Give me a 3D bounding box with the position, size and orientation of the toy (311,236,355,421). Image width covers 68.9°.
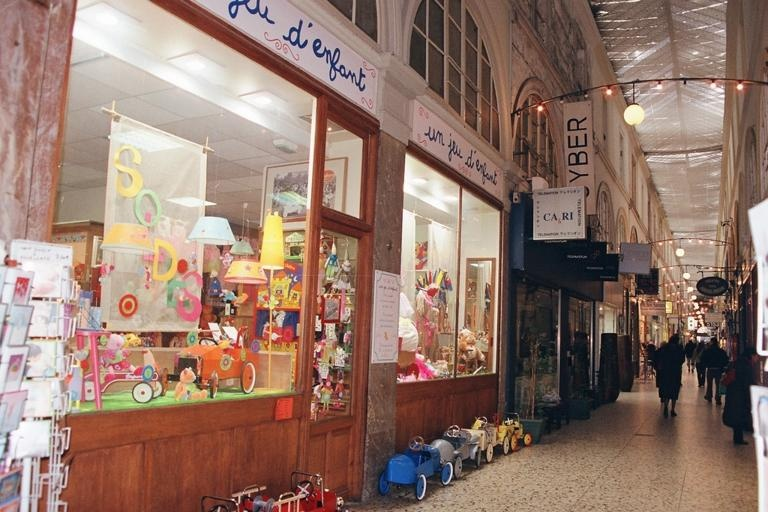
[{"bbox_3d":[-0.526,0.751,6.265,0.182,2.028,0.667,-7,-11,32],"label":"toy"}]

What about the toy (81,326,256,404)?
[{"bbox_3d":[-1.878,0.902,4.787,0.583,0.391,1.041,-2,-2,35],"label":"toy"}]

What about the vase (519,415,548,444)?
[{"bbox_3d":[2.604,2.949,9.710,0.419,0.379,0.496,-2,-5,8],"label":"vase"}]

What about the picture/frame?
[{"bbox_3d":[-0.892,-0.676,5.904,0.816,0.602,0.030,0,4,-28],"label":"picture/frame"}]
